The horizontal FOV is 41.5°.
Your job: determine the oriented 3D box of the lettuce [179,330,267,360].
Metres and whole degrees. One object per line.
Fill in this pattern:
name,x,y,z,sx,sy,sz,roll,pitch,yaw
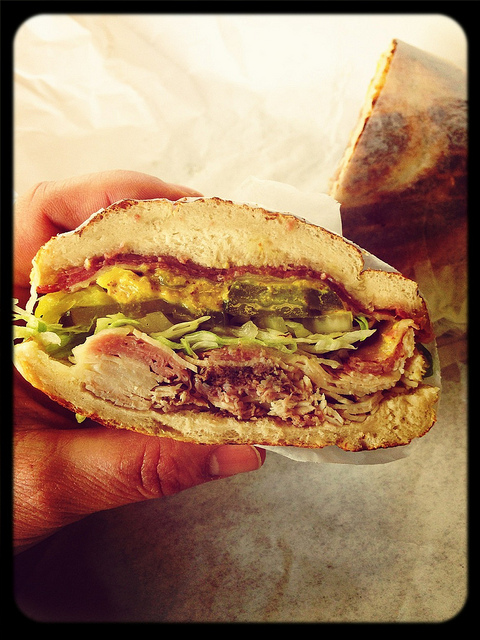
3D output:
lettuce,-0.038,0.079,2.264,0.378,0.105,0.110,-2,97,2
